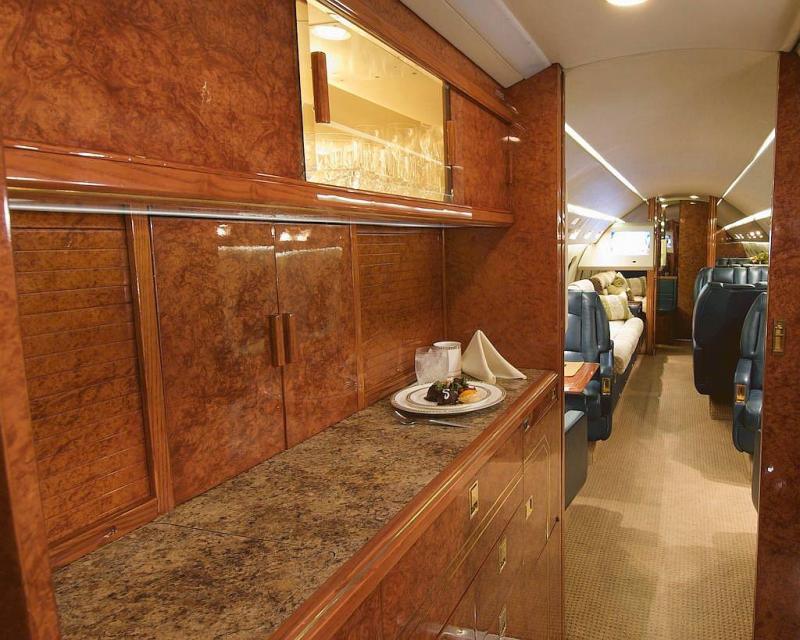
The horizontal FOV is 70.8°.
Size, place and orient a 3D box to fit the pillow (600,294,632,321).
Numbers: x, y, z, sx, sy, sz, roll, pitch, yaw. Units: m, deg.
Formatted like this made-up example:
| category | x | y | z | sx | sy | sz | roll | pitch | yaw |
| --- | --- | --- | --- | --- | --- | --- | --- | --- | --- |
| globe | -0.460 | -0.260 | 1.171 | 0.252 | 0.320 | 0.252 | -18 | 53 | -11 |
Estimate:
| category | x | y | z | sx | sy | sz | roll | pitch | yaw |
| --- | --- | --- | --- | --- | --- | --- | --- | --- | --- |
| pillow | 2.921 | -0.170 | 7.667 | 0.388 | 0.377 | 0.115 | -3 | -15 | -36 |

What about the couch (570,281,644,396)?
| category | x | y | z | sx | sy | sz | roll | pitch | yaw |
| --- | --- | --- | --- | --- | --- | --- | --- | --- | --- |
| couch | 2.553 | 0.032 | 6.908 | 0.745 | 0.965 | 2.383 | 19 | 17 | 26 |

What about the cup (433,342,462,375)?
| category | x | y | z | sx | sy | sz | roll | pitch | yaw |
| --- | --- | --- | --- | --- | --- | --- | --- | --- | --- |
| cup | 0.188 | 0.153 | 2.260 | 0.116 | 0.131 | 0.120 | 1 | 4 | 0 |

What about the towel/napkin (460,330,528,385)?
| category | x | y | z | sx | sy | sz | roll | pitch | yaw |
| --- | --- | --- | --- | --- | --- | --- | --- | --- | --- |
| towel/napkin | 0.369 | 0.154 | 2.323 | 0.198 | 0.200 | 0.274 | -23 | 19 | -33 |

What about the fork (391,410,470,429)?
| category | x | y | z | sx | sy | sz | roll | pitch | yaw |
| --- | --- | --- | --- | --- | --- | --- | --- | --- | --- |
| fork | 0.108 | 0.326 | 1.838 | 0.189 | 0.030 | 0.027 | 7 | 19 | 17 |

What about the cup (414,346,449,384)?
| category | x | y | z | sx | sy | sz | roll | pitch | yaw |
| --- | --- | --- | --- | --- | --- | --- | --- | --- | --- |
| cup | 0.120 | 0.171 | 2.191 | 0.126 | 0.128 | 0.128 | 0 | 5 | 0 |
